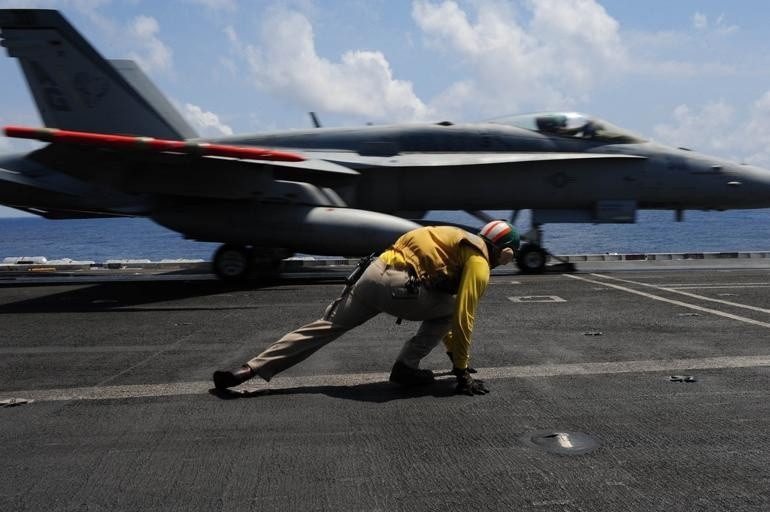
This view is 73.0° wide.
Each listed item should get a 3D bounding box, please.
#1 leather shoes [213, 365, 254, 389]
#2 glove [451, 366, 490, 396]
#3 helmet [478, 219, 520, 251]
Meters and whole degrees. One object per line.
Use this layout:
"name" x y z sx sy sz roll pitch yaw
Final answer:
"leather shoes" -1.444 1.154 4.971 0.491 0.150 0.200 -6 -26 -15
"glove" 0.845 1.167 4.931 0.347 0.254 0.192 -5 15 -11
"helmet" 1.077 -0.206 5.022 0.501 0.235 0.281 -6 28 -13
